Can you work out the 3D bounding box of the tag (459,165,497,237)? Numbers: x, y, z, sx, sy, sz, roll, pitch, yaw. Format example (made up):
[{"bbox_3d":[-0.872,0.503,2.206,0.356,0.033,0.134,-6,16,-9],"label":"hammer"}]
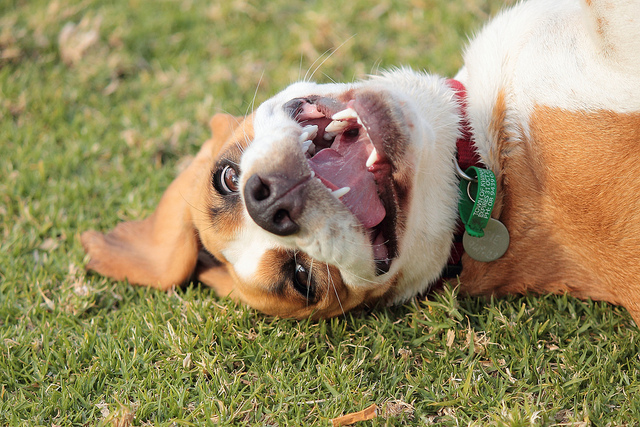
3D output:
[{"bbox_3d":[0.903,-0.069,3.739,0.087,0.369,0.258,2,8,-27],"label":"tag"}]
